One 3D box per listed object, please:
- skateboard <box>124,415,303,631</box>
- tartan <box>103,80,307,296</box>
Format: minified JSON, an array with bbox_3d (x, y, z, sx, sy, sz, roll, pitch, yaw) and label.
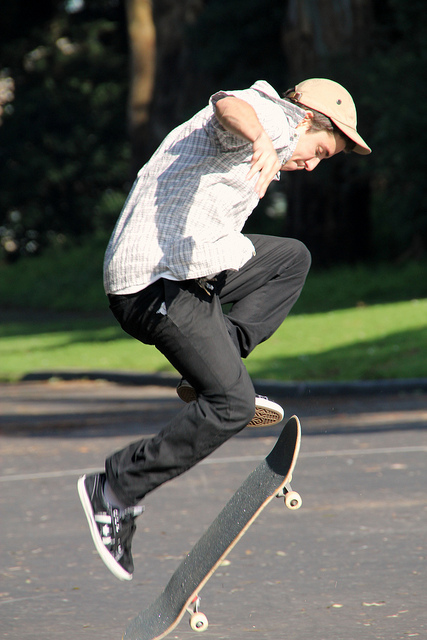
[{"bbox_3d":[0.002,0.812,3.592,0.911,0.163,0.225,-44,19,0],"label":"skateboard"},{"bbox_3d":[-0.040,-0.480,3.358,0.558,0.769,0.736,18,-15,-5],"label":"tartan"}]
